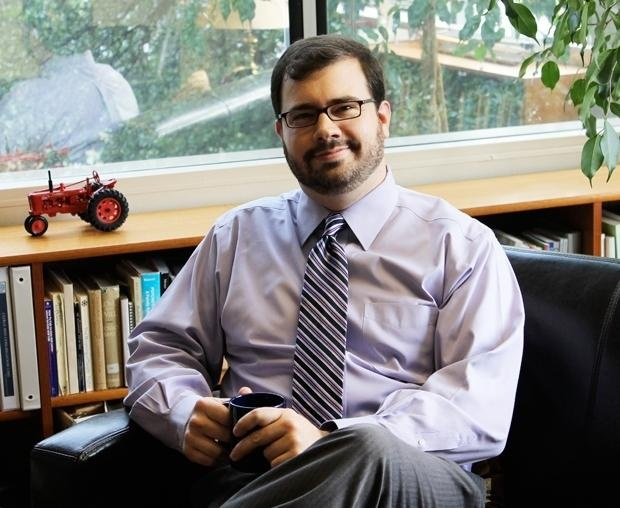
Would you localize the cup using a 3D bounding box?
[{"bbox_3d":[-0.104,0.374,1.499,0.162,0.144,0.098,-1,3,43],"label":"cup"}]

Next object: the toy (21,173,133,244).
[{"bbox_3d":[-0.771,-0.157,2.287,0.288,0.227,0.216,-1,6,-14],"label":"toy"}]
